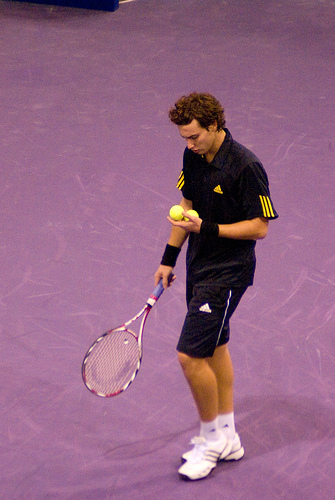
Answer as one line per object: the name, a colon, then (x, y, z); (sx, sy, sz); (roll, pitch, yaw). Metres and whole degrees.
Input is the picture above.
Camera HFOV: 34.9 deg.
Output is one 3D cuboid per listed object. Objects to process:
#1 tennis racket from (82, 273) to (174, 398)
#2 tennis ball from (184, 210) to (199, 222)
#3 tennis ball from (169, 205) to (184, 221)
tennis racket: (-0.149, 0.369, 2.708); (0.259, 0.058, 0.870); (36, 45, -6)
tennis ball: (0.102, -0.152, 2.361); (0.047, 0.026, 0.052); (9, 6, 26)
tennis ball: (0.042, -0.176, 2.467); (0.068, 0.061, 0.068); (3, 6, 0)
